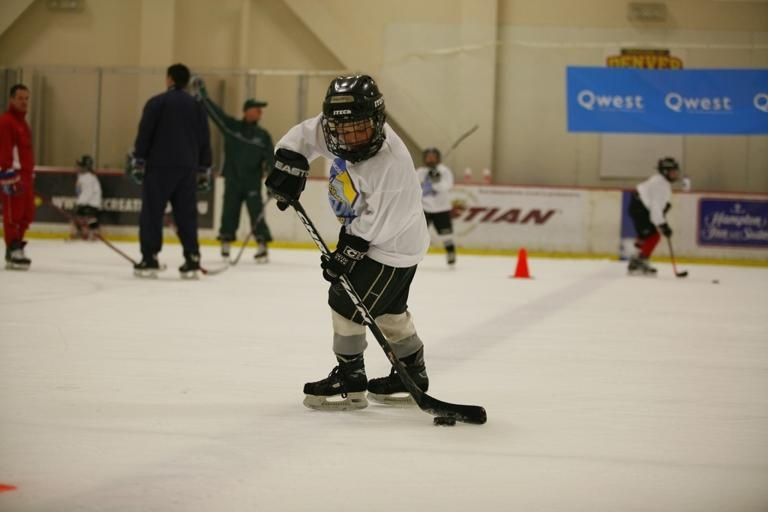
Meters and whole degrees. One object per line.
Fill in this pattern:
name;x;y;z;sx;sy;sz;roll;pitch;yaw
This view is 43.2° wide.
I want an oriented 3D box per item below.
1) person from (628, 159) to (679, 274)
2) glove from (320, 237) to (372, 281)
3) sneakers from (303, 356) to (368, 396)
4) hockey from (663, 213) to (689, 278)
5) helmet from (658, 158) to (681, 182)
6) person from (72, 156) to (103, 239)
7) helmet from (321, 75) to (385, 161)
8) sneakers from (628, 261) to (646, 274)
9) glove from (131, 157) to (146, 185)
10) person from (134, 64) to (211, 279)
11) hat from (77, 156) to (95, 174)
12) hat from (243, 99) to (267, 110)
person;2.671;-0.387;9.651;0.397;0.422;0.998;-9;-31;14
glove;-0.220;0.014;5.558;0.181;0.307;0.120;39;4;9
sneakers;-0.263;0.706;5.589;0.403;0.264;0.173;1;-3;-1
hockey;3.069;-0.098;10.194;0.272;0.878;0.130;-12;36;12
helmet;2.600;-0.792;8.911;0.197;0.207;0.225;8;13;9
person;-2.844;-0.565;9.343;0.294;0.780;0.411;14;26;-13
helmet;-0.163;-0.827;5.606;0.365;0.448;0.448;-1;26;14
sneakers;2.497;0.116;9.666;0.115;0.132;0.066;2;-9;10
glove;-2.023;-0.695;8.012;0.074;0.218;0.165;-6;5;-42
person;-1.755;-0.695;8.081;0.636;1.770;0.280;0;7;-15
hat;-2.797;-0.861;9.110;0.149;0.169;0.294;0;6;-17
hat;-1.249;-1.536;9.790;0.327;0.087;0.202;-3;4;-21
